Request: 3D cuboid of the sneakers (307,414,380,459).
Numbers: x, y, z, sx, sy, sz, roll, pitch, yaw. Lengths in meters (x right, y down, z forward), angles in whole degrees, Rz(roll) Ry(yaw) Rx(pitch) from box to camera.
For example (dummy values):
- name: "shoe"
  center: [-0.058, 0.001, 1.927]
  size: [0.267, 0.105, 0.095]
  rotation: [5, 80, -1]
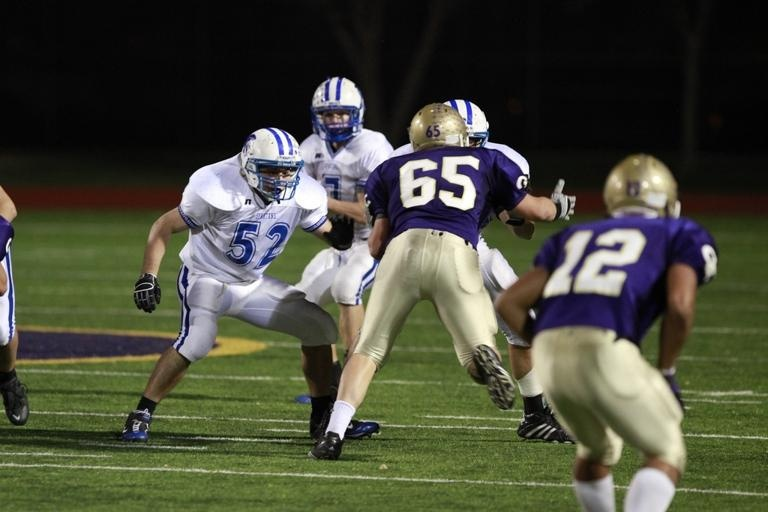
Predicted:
- name: "sneakers"
  center: [-0.248, 1.115, 5.922]
  size: [0.454, 0.196, 0.159]
  rotation: [-20, 30, -38]

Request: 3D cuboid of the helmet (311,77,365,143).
- name: "helmet"
  center: [-0.343, -1.074, 7.371]
  size: [0.403, 0.416, 0.495]
  rotation: [0, 9, 4]

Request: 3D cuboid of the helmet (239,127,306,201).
- name: "helmet"
  center: [-0.693, -0.550, 6.073]
  size: [0.366, 0.433, 0.480]
  rotation: [-2, 14, -28]

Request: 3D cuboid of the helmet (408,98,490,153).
- name: "helmet"
  center: [0.373, -0.775, 5.916]
  size: [0.524, 0.390, 0.382]
  rotation: [-12, 10, 5]

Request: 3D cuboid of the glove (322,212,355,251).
- name: "glove"
  center: [-0.319, -0.154, 6.563]
  size: [0.177, 0.223, 0.179]
  rotation: [1, 6, -24]

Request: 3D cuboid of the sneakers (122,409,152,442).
- name: "sneakers"
  center: [-1.532, 1.040, 6.047]
  size: [0.180, 0.196, 0.173]
  rotation: [-2, 8, -16]

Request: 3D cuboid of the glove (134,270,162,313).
- name: "glove"
  center: [-1.419, 0.223, 5.965]
  size: [0.186, 0.243, 0.075]
  rotation: [2, 8, 4]
